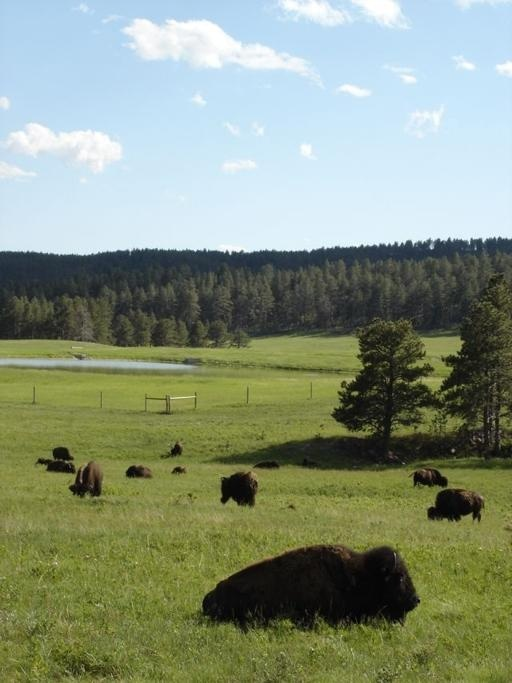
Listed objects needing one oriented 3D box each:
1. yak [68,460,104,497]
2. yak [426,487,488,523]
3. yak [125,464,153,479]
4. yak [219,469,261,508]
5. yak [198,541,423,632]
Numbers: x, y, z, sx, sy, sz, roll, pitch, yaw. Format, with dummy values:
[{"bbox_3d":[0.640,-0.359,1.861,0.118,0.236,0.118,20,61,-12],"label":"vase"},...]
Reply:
[{"bbox_3d":[-5.189,4.333,35.869,0.927,0.965,1.298,5,5,34],"label":"yak"},{"bbox_3d":[6.144,5.062,35.475,1.676,0.870,1.105,2,4,0],"label":"yak"},{"bbox_3d":[-4.174,4.765,41.592,0.818,0.510,0.525,17,-28,-13],"label":"yak"},{"bbox_3d":[-0.489,4.609,35.983,1.317,0.986,1.060,5,5,33],"label":"yak"},{"bbox_3d":[1.153,4.716,22.241,3.820,1.475,0.849,2,4,-2],"label":"yak"}]
